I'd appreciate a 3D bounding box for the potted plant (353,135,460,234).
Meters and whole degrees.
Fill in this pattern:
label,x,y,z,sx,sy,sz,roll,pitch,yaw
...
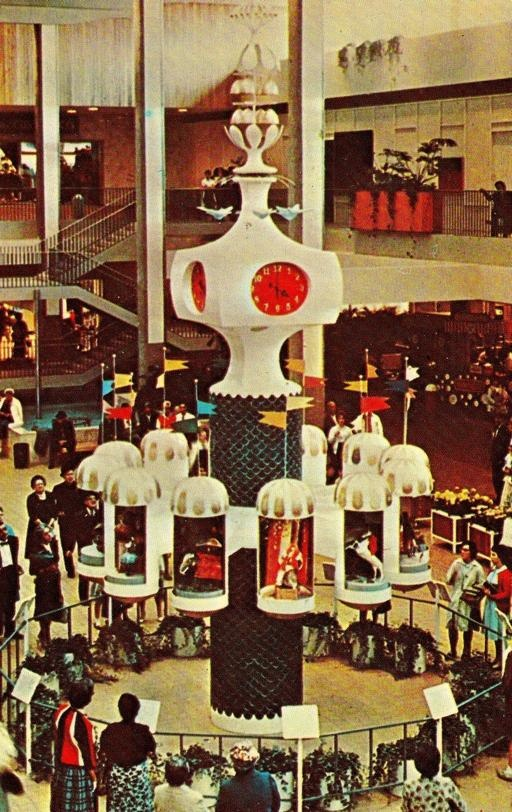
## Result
label,x,y,z,sx,sy,sz,roll,pitch,yaw
potted plant,2.113,-2.987,26.187,1.488,1.543,1.396,-1,-14,28
